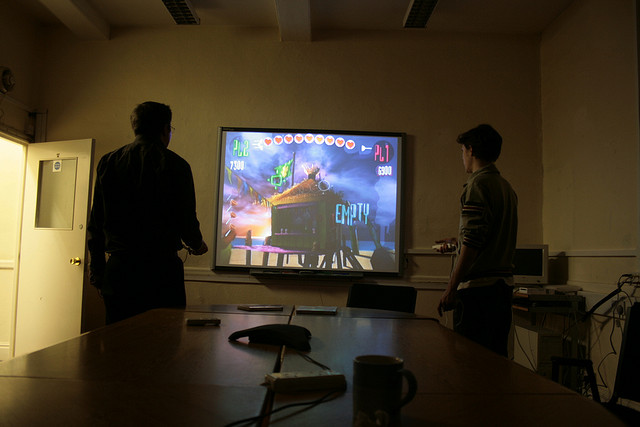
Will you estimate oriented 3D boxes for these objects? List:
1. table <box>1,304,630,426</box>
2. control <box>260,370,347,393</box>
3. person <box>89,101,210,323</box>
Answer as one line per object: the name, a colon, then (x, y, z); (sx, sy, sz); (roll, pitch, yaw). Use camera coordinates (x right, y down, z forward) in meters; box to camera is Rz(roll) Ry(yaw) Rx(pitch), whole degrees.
table: (-0.201, 0.750, 2.585); (2.593, 0.345, 1.226); (3, -1, -4)
control: (-0.088, 0.729, 2.291); (0.378, 0.080, 0.338); (2, -4, -10)
person: (-1.144, -0.026, 3.387); (0.757, 1.281, 0.343); (4, -2, -20)
